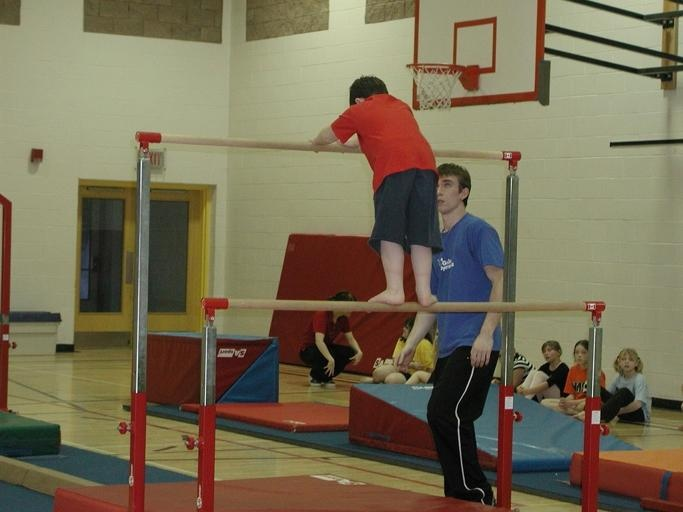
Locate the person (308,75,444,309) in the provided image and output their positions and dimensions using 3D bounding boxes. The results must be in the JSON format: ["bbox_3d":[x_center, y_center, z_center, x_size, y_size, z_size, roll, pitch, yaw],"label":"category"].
[{"bbox_3d":[0.196,-0.282,3.472,0.507,0.966,0.428,2,3,-3],"label":"person"}]

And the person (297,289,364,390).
[{"bbox_3d":[-0.095,0.844,7.582,0.587,1.001,0.583,7,6,-12],"label":"person"}]
